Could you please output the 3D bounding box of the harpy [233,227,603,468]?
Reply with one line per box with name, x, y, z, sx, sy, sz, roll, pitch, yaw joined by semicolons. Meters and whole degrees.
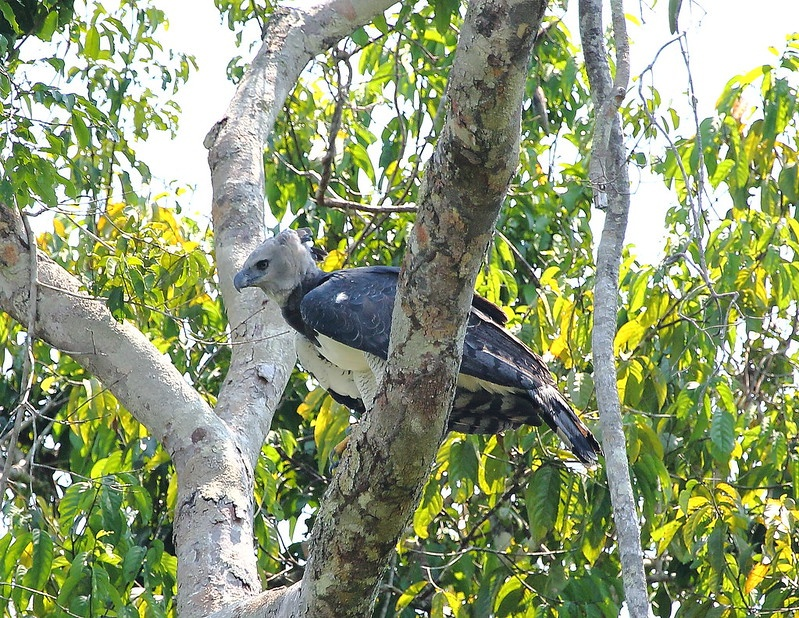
harpy;0.047;0.123;7.446;1.744;1.069;0.859;4;-21;-3
